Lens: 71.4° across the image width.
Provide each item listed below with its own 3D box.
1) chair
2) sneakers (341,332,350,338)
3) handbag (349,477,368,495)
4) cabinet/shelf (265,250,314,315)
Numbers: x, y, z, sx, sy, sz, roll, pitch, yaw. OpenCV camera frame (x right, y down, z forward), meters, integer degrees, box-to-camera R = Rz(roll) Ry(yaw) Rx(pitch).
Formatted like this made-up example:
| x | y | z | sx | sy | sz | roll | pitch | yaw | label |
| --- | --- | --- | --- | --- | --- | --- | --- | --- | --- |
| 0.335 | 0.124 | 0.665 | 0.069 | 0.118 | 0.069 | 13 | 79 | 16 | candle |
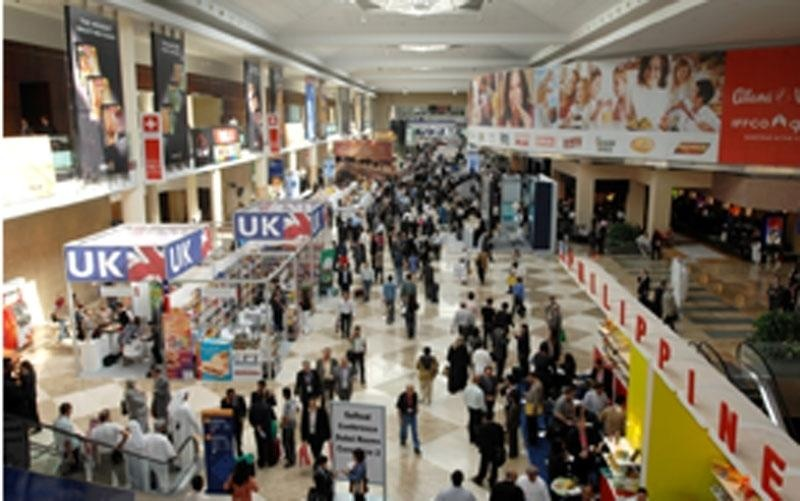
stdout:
| x | y | z | sx | sy | sz | roll | pitch | yaw | label |
| --- | --- | --- | --- | --- | --- | --- | --- | --- | --- |
| -7.471 | 2.017 | 13.263 | 1.626 | 1.544 | 1.585 | -2 | 13 | -5 | chair |
| -1.447 | 2.258 | 14.695 | 0.246 | 0.232 | 0.109 | 2 | -32 | -9 | sneakers |
| -0.648 | 3.773 | 9.009 | 0.286 | 0.274 | 0.284 | 1 | 1 | 10 | handbag |
| -3.264 | 1.272 | 16.705 | 0.911 | 1.126 | 5.410 | -7 | -3 | -11 | cabinet/shelf |
